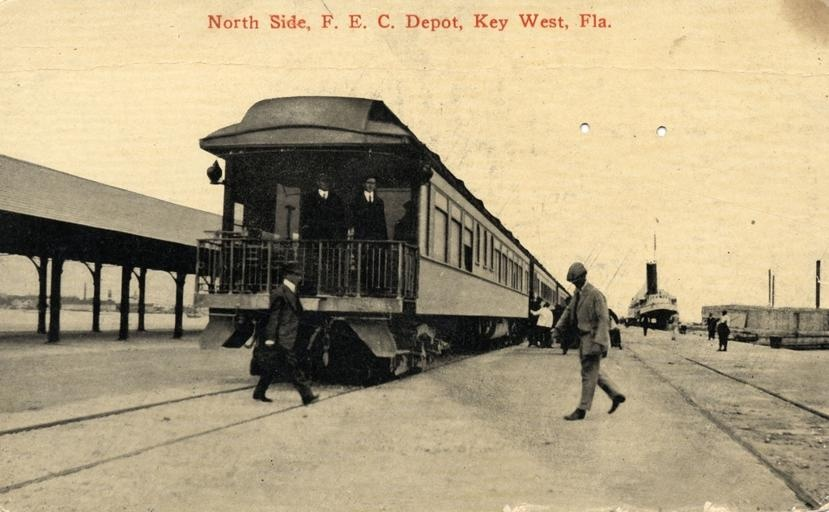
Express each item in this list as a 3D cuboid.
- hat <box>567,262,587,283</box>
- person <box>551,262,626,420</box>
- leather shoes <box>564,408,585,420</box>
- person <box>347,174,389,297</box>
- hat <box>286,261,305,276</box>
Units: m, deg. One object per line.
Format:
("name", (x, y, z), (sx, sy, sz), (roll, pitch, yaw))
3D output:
("hat", (2.377, 0.261, 12.289), (0.237, 0.223, 0.335), (0, 23, 26))
("person", (2.951, 1.445, 14.215), (1.142, 2.614, 0.885), (2, 6, 9))
("leather shoes", (2.707, 2.695, 14.084), (0.397, 0.282, 0.162), (3, -13, 3))
("person", (-0.863, -0.405, 15.889), (0.719, 2.158, 1.085), (0, 5, -5))
("hat", (-2.049, 0.223, 14.685), (0.256, 0.073, 0.239), (9, 11, 21))
